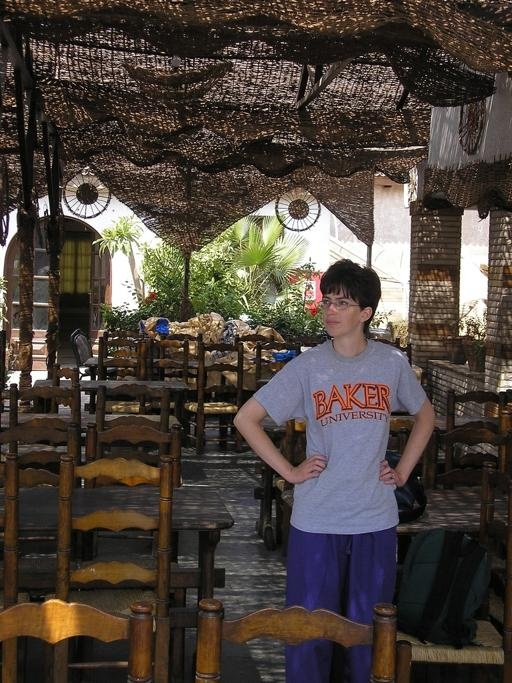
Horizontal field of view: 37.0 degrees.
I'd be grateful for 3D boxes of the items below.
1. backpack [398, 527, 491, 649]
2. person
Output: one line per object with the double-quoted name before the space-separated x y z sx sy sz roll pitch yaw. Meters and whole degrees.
"backpack" 0.561 0.823 2.565 0.280 0.404 0.354 13 -12 29
"person" 0.269 0.297 2.416 0.674 1.139 0.369 2 2 -6
